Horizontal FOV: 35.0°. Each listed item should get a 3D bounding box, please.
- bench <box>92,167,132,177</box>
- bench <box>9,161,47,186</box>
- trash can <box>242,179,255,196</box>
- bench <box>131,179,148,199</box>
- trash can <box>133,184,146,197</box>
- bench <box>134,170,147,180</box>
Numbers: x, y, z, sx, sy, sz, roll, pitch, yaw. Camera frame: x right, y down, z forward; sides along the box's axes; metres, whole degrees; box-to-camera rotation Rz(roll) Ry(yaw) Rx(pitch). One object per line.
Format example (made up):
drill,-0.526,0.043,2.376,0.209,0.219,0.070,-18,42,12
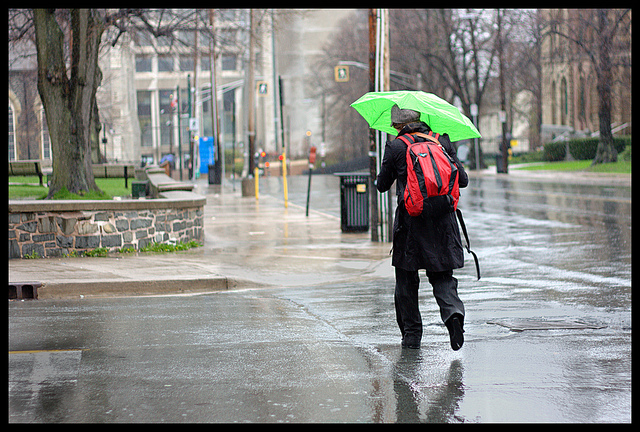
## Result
bench,-8.652,-1.821,41.686,1.210,0.551,1.094,0,11,-3
bench,-10.111,-1.527,34.807,1.728,0.786,0.715,6,12,29
trash can,-2.705,-1.098,38.098,0.512,0.679,0.712,-1,3,-5
bench,-5.540,-0.834,30.834,0.580,0.574,0.582,-1,3,-6
trash can,-5.530,-0.802,30.820,0.310,0.396,0.424,-5,2,11
bench,-6.290,-1.427,35.561,0.420,0.454,0.401,0,6,-2
